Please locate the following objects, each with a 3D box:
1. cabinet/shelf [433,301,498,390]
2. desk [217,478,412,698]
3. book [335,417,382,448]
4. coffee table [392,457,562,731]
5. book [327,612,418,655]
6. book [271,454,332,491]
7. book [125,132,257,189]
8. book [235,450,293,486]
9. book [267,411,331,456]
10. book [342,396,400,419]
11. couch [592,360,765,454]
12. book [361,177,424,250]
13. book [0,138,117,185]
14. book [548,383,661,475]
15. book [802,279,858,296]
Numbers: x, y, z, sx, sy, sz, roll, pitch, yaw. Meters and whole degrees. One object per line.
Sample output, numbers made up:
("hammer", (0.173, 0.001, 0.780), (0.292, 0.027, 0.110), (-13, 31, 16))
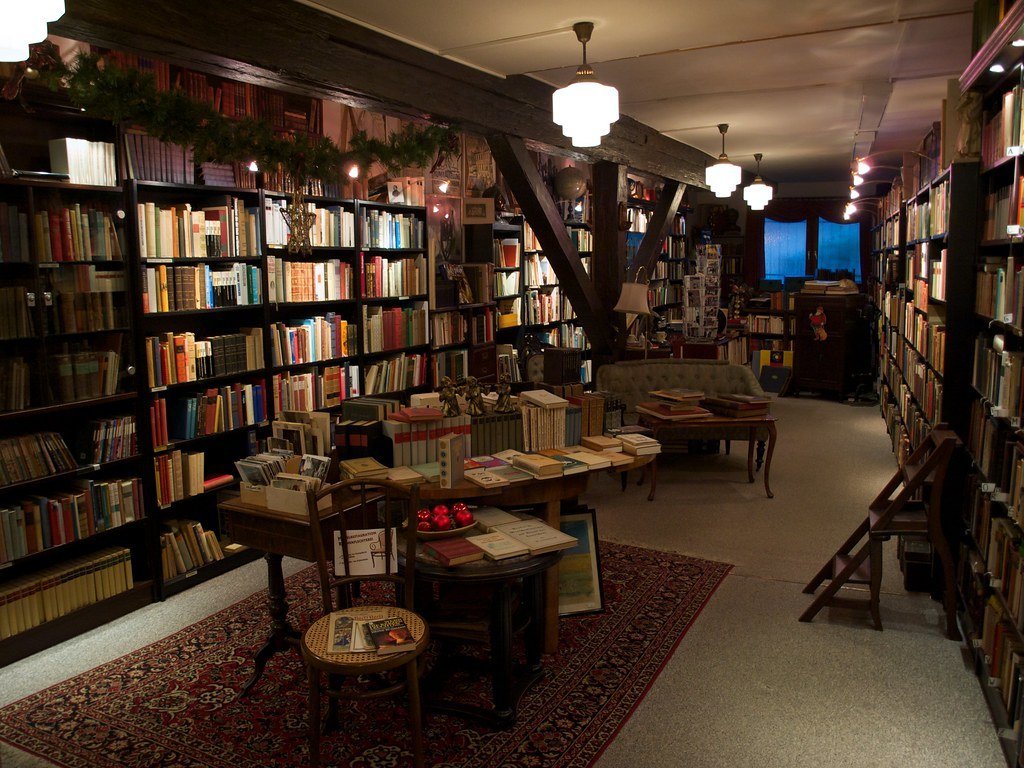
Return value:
("cabinet/shelf", (-0.497, -0.398, 7.537), (0.293, 0.844, 0.916), (1, 5, 29))
("desk", (-1.086, 1.137, 4.679), (1.164, 1.732, 1.168), (-2, 11, -15))
("book", (-0.889, 0.286, 4.378), (0.250, 0.148, 0.171), (0, 13, 8))
("coffee table", (-0.165, 1.108, 4.226), (0.965, 0.958, 1.127), (3, 8, 25))
("book", (-0.628, 1.120, 3.351), (0.409, 0.024, 0.331), (-1, 12, -2))
("book", (-1.092, 0.474, 3.956), (0.195, 0.197, 0.073), (0, -17, 31))
("book", (-2.334, -1.531, 5.210), (0.960, 0.278, 0.307), (-9, 6, -42))
("book", (-1.348, 0.451, 4.131), (0.198, 0.069, 0.208), (-1, 10, 12))
("book", (-1.236, 0.301, 4.352), (0.278, 0.279, 0.159), (6, 12, 23))
("book", (-0.901, 0.151, 4.542), (0.242, 0.086, 0.203), (3, 9, 24))
("couch", (1.777, 0.310, 7.947), (1.436, 0.663, 0.728), (0, 8, -6))
("book", (-1.154, -1.607, 6.995), (0.252, 0.715, 0.740), (4, 8, 34))
("book", (-2.872, -1.389, 4.648), (0.410, 0.199, 0.127), (-7, 3, -42))
("book", (0.626, 0.299, 4.825), (0.586, 0.364, 0.596), (-1, 8, -15))
("book", (4.976, -1.489, 11.625), (0.779, 0.207, 0.299), (4, 13, 22))
